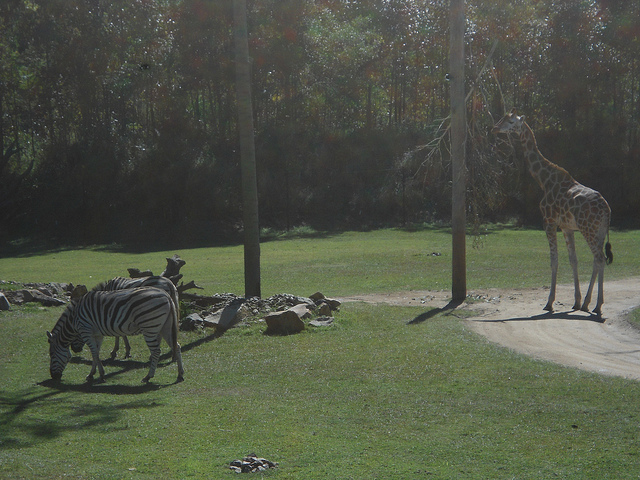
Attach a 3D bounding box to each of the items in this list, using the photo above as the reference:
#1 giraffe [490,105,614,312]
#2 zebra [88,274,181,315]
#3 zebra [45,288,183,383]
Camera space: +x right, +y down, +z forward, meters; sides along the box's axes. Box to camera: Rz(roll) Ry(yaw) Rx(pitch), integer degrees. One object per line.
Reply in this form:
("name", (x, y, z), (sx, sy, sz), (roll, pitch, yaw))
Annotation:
("giraffe", (7.189, -1.058, 25.276), (2.840, 6.713, 3.296), (8, 13, 33))
("zebra", (-4.396, 1.363, 20.964), (2.455, 1.571, 0.676), (-2, -12, 7))
("zebra", (-4.777, 2.238, 20.396), (3.031, 2.106, 0.643), (0, 12, 4))
